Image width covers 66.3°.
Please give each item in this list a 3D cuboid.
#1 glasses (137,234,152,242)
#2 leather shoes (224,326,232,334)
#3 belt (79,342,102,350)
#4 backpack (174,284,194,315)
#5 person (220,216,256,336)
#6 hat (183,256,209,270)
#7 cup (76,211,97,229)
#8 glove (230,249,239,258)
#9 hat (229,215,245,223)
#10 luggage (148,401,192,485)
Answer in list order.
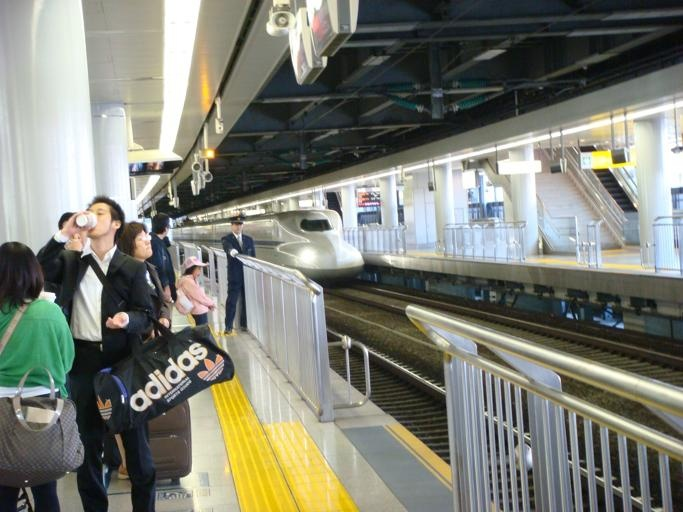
[{"bbox_3d":[-1.860,-0.180,4.951,0.101,0.036,0.112,8,-11,-3],"label":"glasses"},{"bbox_3d":[-2.050,1.328,9.528,0.122,0.079,0.171,1,-4,-2],"label":"leather shoes"},{"bbox_3d":[-1.608,0.562,3.354,0.083,0.032,0.074,2,2,-10],"label":"belt"},{"bbox_3d":[-2.134,0.565,7.144,0.171,0.421,0.297,-20,-3,-45],"label":"backpack"},{"bbox_3d":[-1.907,0.331,9.541,0.517,2.103,0.546,-3,4,16],"label":"person"},{"bbox_3d":[-1.951,0.075,7.253,0.240,0.153,0.344,-1,1,41],"label":"hat"},{"bbox_3d":[-1.585,-0.226,3.252,0.114,0.073,0.152,-6,5,-26],"label":"cup"},{"bbox_3d":[-1.890,-0.076,9.310,0.224,0.123,0.089,0,5,42],"label":"glove"},{"bbox_3d":[-1.862,-0.667,9.390,0.186,0.141,0.346,-5,4,-19],"label":"hat"},{"bbox_3d":[-1.326,1.399,4.061,0.357,0.593,0.308,-2,-4,-9],"label":"luggage"}]
